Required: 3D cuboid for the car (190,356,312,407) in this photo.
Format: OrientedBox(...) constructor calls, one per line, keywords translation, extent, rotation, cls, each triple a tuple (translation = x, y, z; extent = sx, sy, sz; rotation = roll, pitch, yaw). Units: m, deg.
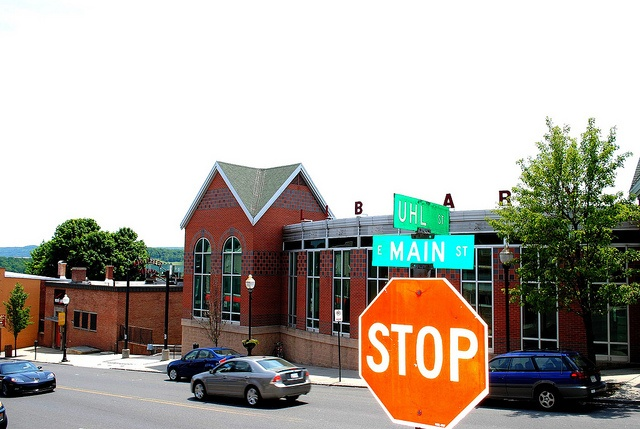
OrientedBox(translation=(-3.476, 8.290, 36.517), extent=(5.222, 1.779, 2.324), rotation=(-3, -10, 35), cls="car")
